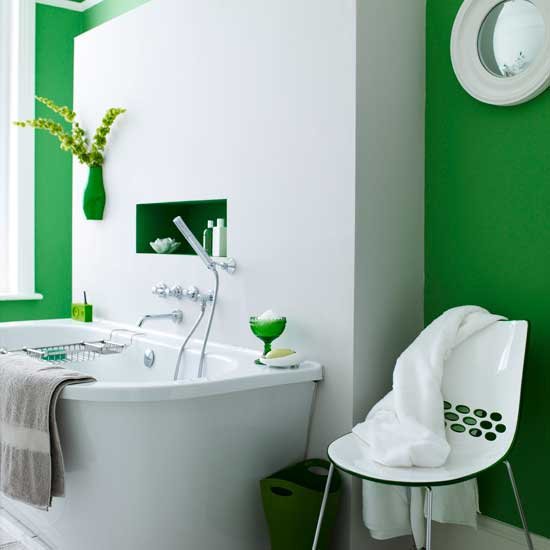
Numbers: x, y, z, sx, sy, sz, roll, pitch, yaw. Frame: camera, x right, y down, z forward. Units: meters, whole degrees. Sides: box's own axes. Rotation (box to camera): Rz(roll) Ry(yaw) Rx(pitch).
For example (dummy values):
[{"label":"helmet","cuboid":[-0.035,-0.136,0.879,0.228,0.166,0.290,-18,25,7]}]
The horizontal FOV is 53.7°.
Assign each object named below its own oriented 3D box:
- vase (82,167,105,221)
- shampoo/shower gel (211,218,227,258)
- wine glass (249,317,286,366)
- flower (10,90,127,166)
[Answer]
[{"label":"vase","cuboid":[-1.062,-0.475,3.157,0.160,0.319,0.075,4,7,36]},{"label":"shampoo/shower gel","cuboid":[-0.258,-0.169,2.485,0.062,0.172,0.174,-1,7,-8]},{"label":"wine glass","cuboid":[-0.023,0.253,2.027,0.125,0.206,0.149,1,-8,-1]},{"label":"flower","cuboid":[-1.261,-0.885,3.236,0.513,0.483,1.045,-4,8,-30]}]
